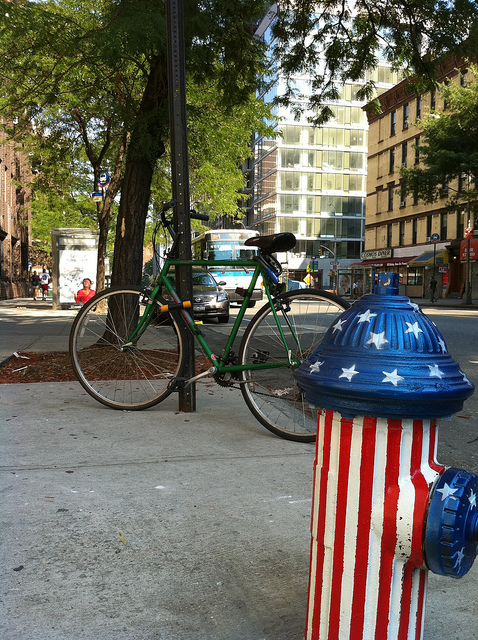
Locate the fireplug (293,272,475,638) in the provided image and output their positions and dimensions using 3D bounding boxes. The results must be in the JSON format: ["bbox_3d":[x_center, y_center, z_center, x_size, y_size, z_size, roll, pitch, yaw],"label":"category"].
[{"bbox_3d":[0.323,0.358,1.404,0.414,0.825,0.261,3,4,20],"label":"fireplug"}]

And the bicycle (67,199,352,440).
[{"bbox_3d":[-0.190,-0.001,4.305,2.448,1.497,0.604,2,6,27],"label":"bicycle"}]

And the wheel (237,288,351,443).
[{"bbox_3d":[0.251,0.212,3.189,0.872,0.827,0.099,10,12,25],"label":"wheel"}]

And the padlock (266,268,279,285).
[{"bbox_3d":[0.220,-0.284,4.016,0.090,0.089,0.024,34,33,13],"label":"padlock"}]

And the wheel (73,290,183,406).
[{"bbox_3d":[-0.848,0.241,4.742,0.847,0.831,0.176,-6,8,14],"label":"wheel"}]

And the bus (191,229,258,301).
[{"bbox_3d":[-0.842,-2.674,24.867,1.945,2.402,5.238,0,6,-7],"label":"bus"}]
